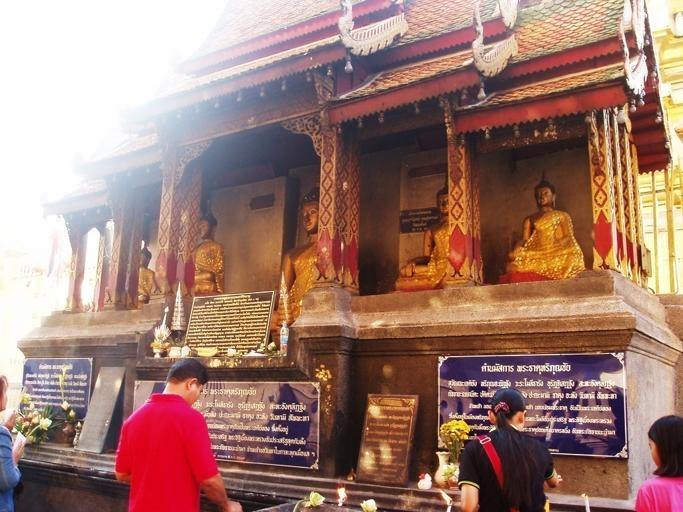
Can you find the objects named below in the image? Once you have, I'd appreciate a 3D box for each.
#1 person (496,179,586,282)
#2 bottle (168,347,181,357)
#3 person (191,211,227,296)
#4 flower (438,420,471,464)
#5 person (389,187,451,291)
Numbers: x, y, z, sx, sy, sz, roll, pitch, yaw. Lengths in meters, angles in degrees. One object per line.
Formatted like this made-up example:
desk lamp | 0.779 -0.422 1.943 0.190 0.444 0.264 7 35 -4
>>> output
person | 2.952 -0.350 9.496 0.948 1.359 0.746 -19 -38 38
bottle | -2.391 1.373 9.331 0.231 0.159 0.115 -3 -11 15
person | -2.350 -0.051 11.696 0.494 1.666 1.330 2 -11 -10
flower | 1.264 2.099 7.391 0.410 0.569 0.445 0 -10 0
person | 1.199 -0.261 9.679 0.797 1.651 0.981 -2 -11 9
